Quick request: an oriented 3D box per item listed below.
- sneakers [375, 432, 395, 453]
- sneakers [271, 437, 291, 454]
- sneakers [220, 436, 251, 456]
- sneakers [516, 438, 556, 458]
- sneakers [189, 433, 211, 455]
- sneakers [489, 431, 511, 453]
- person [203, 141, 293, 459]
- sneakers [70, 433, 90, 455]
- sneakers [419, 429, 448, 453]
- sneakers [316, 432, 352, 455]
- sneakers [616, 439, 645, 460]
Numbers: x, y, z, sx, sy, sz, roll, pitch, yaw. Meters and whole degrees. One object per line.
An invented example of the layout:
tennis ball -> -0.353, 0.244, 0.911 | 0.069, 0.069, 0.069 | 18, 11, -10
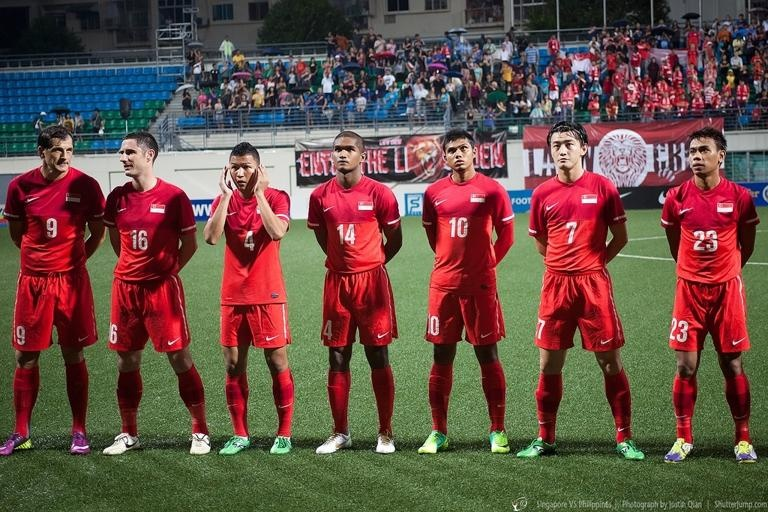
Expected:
sneakers -> 0.019, 2.827, 15.388 | 0.321, 0.272, 0.231 | -3, 7, -8
sneakers -> -1.539, 2.846, 15.420 | 0.375, 0.246, 0.245 | -5, 8, -22
sneakers -> -2.247, 2.857, 15.440 | 0.426, 0.186, 0.209 | -6, 3, -40
sneakers -> 2.268, 2.861, 15.336 | 0.629, 0.312, 0.250 | -2, -2, -11
sneakers -> -2.769, 2.827, 15.431 | 0.337, 0.303, 0.250 | -3, 7, -12
sneakers -> 1.746, 2.795, 15.400 | 0.301, 0.301, 0.244 | -2, 7, -2
person -> -1.963, 0.624, 15.456 | 1.129, 4.643, 0.866 | -2, 6, -6
sneakers -> -4.583, 2.839, 15.432 | 0.273, 0.298, 0.213 | -4, 7, -17
sneakers -> 0.788, 2.842, 15.467 | 0.197, 0.271, 0.546 | -7, -7, 38
sneakers -> -0.735, 2.815, 15.439 | 0.616, 0.278, 0.212 | -3, 8, -38
sneakers -> 3.643, 2.882, 15.142 | 0.205, 0.207, 0.401 | -9, 9, -37
